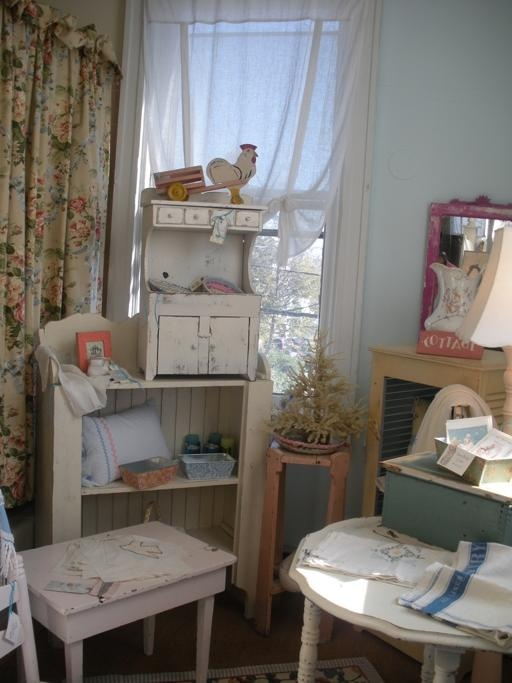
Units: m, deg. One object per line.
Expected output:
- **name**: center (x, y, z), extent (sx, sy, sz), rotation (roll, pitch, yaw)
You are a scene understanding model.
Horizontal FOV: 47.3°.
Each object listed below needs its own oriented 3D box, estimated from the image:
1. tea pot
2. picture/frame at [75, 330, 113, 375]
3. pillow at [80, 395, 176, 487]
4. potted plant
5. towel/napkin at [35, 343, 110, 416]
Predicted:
- **tea pot**: center (0.638, -0.130, 1.954), extent (0.201, 0.230, 0.186), rotation (6, 6, -1)
- **picture/frame**: center (-0.577, 0.041, 2.061), extent (0.066, 0.180, 0.160), rotation (-8, -4, 43)
- **pillow**: center (-0.497, 0.376, 2.200), extent (0.151, 0.241, 0.381), rotation (3, 8, 33)
- **potted plant**: center (0.230, 0.132, 2.175), extent (0.424, 0.390, 0.418), rotation (-7, 13, -42)
- **towel/napkin**: center (-0.624, 0.122, 1.928), extent (0.161, 0.254, 0.149), rotation (-13, 3, 41)
